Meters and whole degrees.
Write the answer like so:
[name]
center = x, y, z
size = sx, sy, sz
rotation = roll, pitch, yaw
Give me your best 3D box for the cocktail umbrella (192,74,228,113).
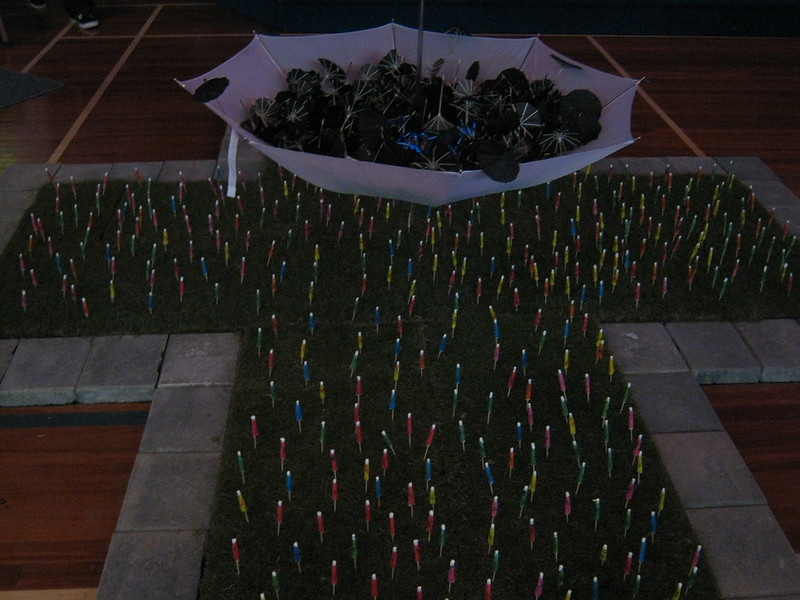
[cocktail umbrella]
center = -0.756, -0.809, 3.343
size = 0.118, 0.044, 0.119
rotation = -3, 68, 14
